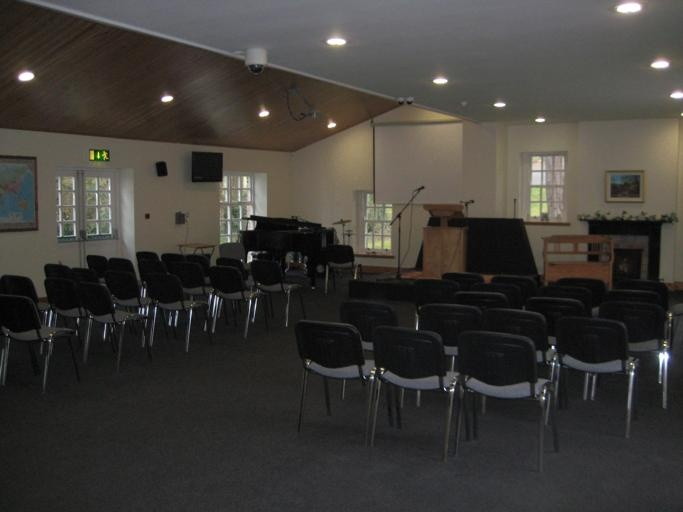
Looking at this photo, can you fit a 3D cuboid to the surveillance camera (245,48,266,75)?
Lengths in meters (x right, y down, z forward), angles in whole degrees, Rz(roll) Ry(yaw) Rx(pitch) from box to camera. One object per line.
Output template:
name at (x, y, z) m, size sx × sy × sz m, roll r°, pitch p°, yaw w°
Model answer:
surveillance camera at (-0.937, -2.129, 5.825) m, size 0.231 × 0.258 × 0.237 m, roll 0°, pitch 2°, yaw -6°

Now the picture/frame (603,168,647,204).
picture/frame at (5.932, -1.463, 11.049) m, size 0.687 × 0.682 × 0.080 m, roll 3°, pitch 3°, yaw 22°

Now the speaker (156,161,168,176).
speaker at (-4.105, -1.992, 12.220) m, size 0.288 × 0.306 × 0.286 m, roll -12°, pitch -2°, yaw -10°

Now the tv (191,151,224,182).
tv at (-3.269, -2.167, 12.896) m, size 0.752 × 0.716 × 0.176 m, roll -5°, pitch 6°, yaw -42°
